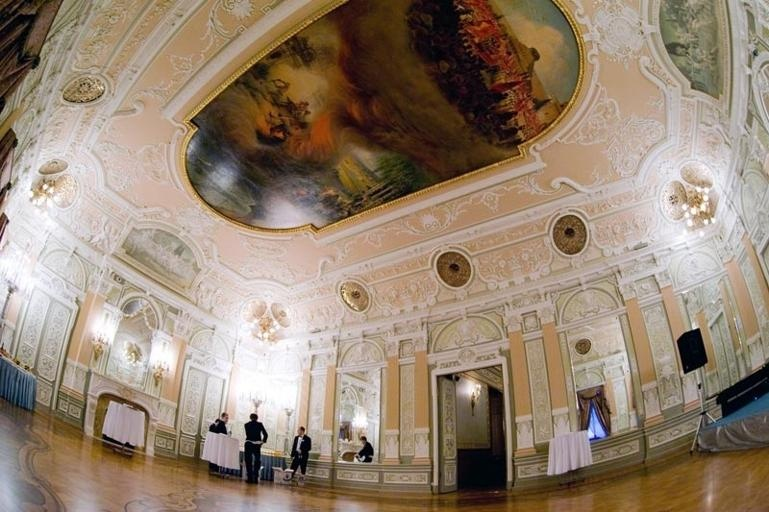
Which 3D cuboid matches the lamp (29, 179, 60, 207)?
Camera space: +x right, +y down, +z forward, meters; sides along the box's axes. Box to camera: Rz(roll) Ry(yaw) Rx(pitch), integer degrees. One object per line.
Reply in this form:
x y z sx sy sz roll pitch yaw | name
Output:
-9.594 -1.838 13.009 0.620 0.878 0.428 25 -37 -38 | lamp

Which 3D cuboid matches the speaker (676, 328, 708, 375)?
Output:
8.000 2.451 11.988 0.474 0.985 0.900 -5 -29 9 | speaker

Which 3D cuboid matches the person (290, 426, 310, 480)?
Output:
-2.836 6.593 15.624 0.655 1.671 1.347 5 -29 -8 | person

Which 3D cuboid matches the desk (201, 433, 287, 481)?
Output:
-4.393 6.212 14.118 2.080 0.768 1.649 -25 -53 35 | desk

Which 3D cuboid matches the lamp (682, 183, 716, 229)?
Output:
8.868 -1.364 12.968 0.810 1.181 0.937 -20 -34 32 | lamp
